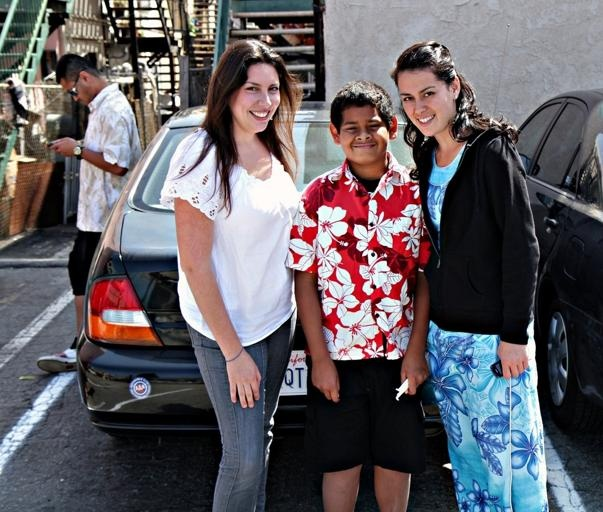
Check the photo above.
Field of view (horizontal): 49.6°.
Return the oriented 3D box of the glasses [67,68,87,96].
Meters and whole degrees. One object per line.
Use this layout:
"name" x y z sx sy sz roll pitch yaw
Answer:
"glasses" -1.520 -1.157 4.326 0.037 0.143 0.128 11 -2 -28
